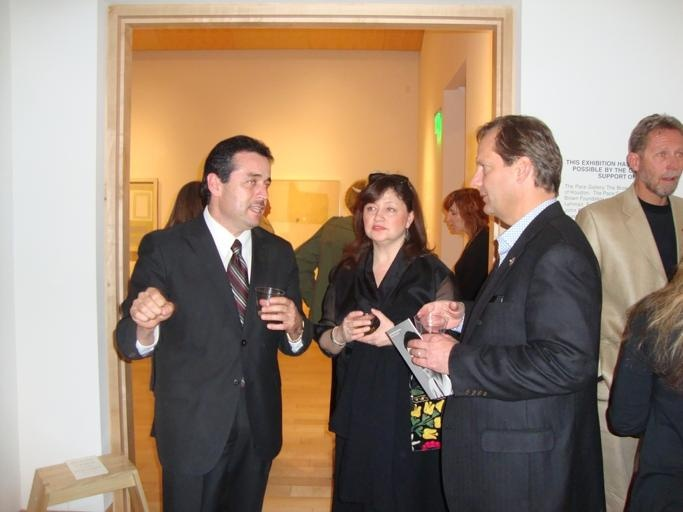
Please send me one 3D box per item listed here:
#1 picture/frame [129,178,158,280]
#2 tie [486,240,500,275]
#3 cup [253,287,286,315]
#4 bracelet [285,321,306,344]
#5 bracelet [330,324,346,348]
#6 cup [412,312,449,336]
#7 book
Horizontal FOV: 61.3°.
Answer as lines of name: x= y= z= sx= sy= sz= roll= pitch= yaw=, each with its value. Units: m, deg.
picture/frame: x=-2.863 y=-0.506 z=8.327 sx=0.430 sy=1.199 sz=0.117 roll=1 pitch=0 yaw=3
tie: x=0.894 y=0.001 z=3.441 sx=0.047 sy=0.217 sz=0.148 roll=8 pitch=-14 yaw=-17
cup: x=-0.359 y=0.212 z=2.806 sx=0.105 sy=0.082 sz=0.111 roll=5 pitch=-5 yaw=0
bracelet: x=-0.239 y=0.396 z=2.998 sx=0.091 sy=0.135 sz=0.047 roll=-10 pitch=28 yaw=-2
bracelet: x=-0.016 y=0.432 z=3.106 sx=0.072 sy=0.104 sz=0.099 roll=0 pitch=5 yaw=5
cup: x=0.410 y=0.314 z=2.702 sx=0.104 sy=0.085 sz=0.099 roll=0 pitch=-1 yaw=0
book: x=0.348 y=0.482 z=2.594 sx=0.082 sy=0.363 sz=0.257 roll=-32 pitch=5 yaw=-15
